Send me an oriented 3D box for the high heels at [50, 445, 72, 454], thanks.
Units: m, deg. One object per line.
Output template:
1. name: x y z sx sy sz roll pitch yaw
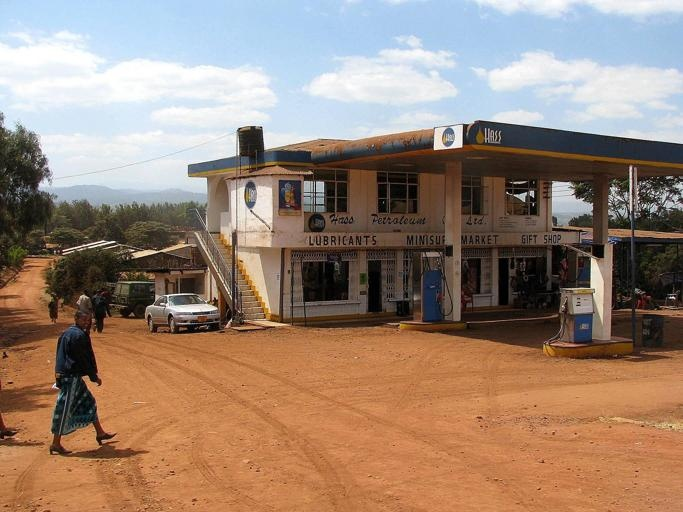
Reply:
1. high heels: -5.044 3.489 11.699 0.387 0.178 0.149 1 -2 0

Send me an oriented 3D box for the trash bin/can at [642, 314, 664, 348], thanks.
1. trash bin/can: 10.545 2.528 22.008 0.671 0.829 0.889 -2 0 23

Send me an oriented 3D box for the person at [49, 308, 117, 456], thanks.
1. person: -4.744 2.281 11.671 0.912 2.747 0.553 -2 0 -27

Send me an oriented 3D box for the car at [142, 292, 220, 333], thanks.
1. car: -6.512 2.337 26.726 1.584 1.595 3.185 -2 0 -45

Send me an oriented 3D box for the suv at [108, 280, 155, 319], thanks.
1. suv: -11.851 2.427 37.629 2.841 1.666 1.757 -2 2 -29
